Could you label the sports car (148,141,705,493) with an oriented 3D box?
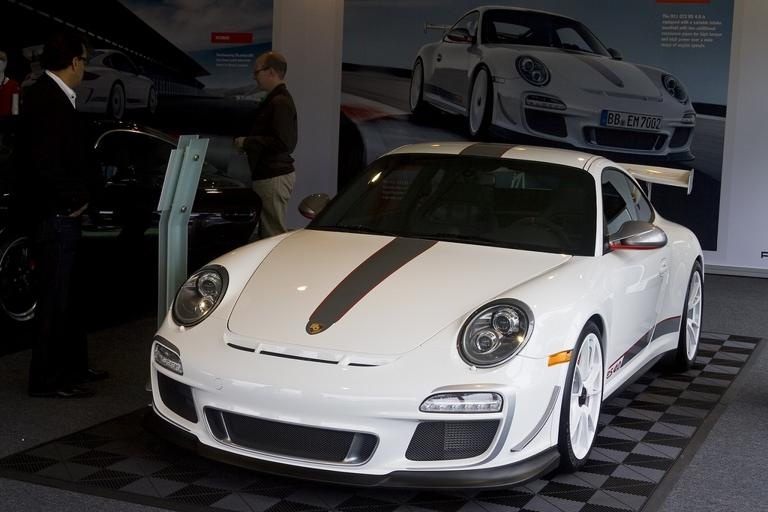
[{"bbox_3d":[0.671,-0.025,3.154,1.697,0.995,3.168,4,8,29],"label":"sports car"}]
